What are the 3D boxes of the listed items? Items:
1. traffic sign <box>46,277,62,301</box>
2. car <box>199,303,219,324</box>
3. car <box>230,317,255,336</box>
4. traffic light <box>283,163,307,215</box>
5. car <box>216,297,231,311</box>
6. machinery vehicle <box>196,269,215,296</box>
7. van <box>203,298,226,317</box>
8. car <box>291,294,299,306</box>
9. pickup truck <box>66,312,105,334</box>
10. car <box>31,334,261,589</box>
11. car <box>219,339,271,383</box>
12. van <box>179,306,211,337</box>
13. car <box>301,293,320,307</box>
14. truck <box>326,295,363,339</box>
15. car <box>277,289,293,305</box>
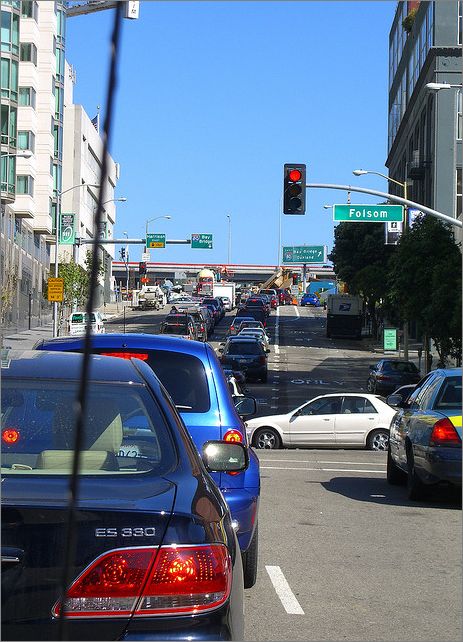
[{"bbox_3d":[-8.891,-1.611,35.487,0.863,1.493,0.143,-4,6,-32],"label":"traffic sign"},{"bbox_3d":[-1.748,-0.601,55.203,1.195,1.293,2.930,0,9,4],"label":"car"},{"bbox_3d":[0.475,0.359,49.839,0.840,0.779,2.050,0,13,5],"label":"car"},{"bbox_3d":[1.768,-3.661,19.604,0.583,1.490,0.585,1,-4,2],"label":"traffic light"},{"bbox_3d":[-0.899,-1.923,77.305,1.127,1.072,2.808,0,9,1],"label":"car"},{"bbox_3d":[-3.750,-5.448,103.006,1.796,3.317,5.744,0,3,-2],"label":"machinery vehicle"},{"bbox_3d":[-1.694,-1.389,68.815,1.134,1.464,2.401,0,10,8],"label":"van"},{"bbox_3d":[10.268,-3.223,112.569,1.412,1.836,1.380,5,6,41],"label":"car"},{"bbox_3d":[-5.559,0.068,26.345,1.041,1.027,1.764,0,8,0],"label":"pickup truck"},{"bbox_3d":[-0.375,0.836,5.603,1.139,1.394,2.639,0,3,3],"label":"car"},{"bbox_3d":[0.743,1.698,30.412,1.114,1.260,2.554,1,8,0],"label":"car"},{"bbox_3d":[-2.009,0.106,42.022,1.517,1.935,2.956,1,10,8],"label":"van"},{"bbox_3d":[11.931,-3.263,106.099,2.616,1.882,2.065,2,-4,-4],"label":"car"},{"bbox_3d":[9.357,-0.404,58.203,2.387,3.715,4.721,2,-1,4],"label":"truck"},{"bbox_3d":[8.041,-3.546,106.033,1.403,1.712,2.847,-1,-12,4],"label":"car"}]
